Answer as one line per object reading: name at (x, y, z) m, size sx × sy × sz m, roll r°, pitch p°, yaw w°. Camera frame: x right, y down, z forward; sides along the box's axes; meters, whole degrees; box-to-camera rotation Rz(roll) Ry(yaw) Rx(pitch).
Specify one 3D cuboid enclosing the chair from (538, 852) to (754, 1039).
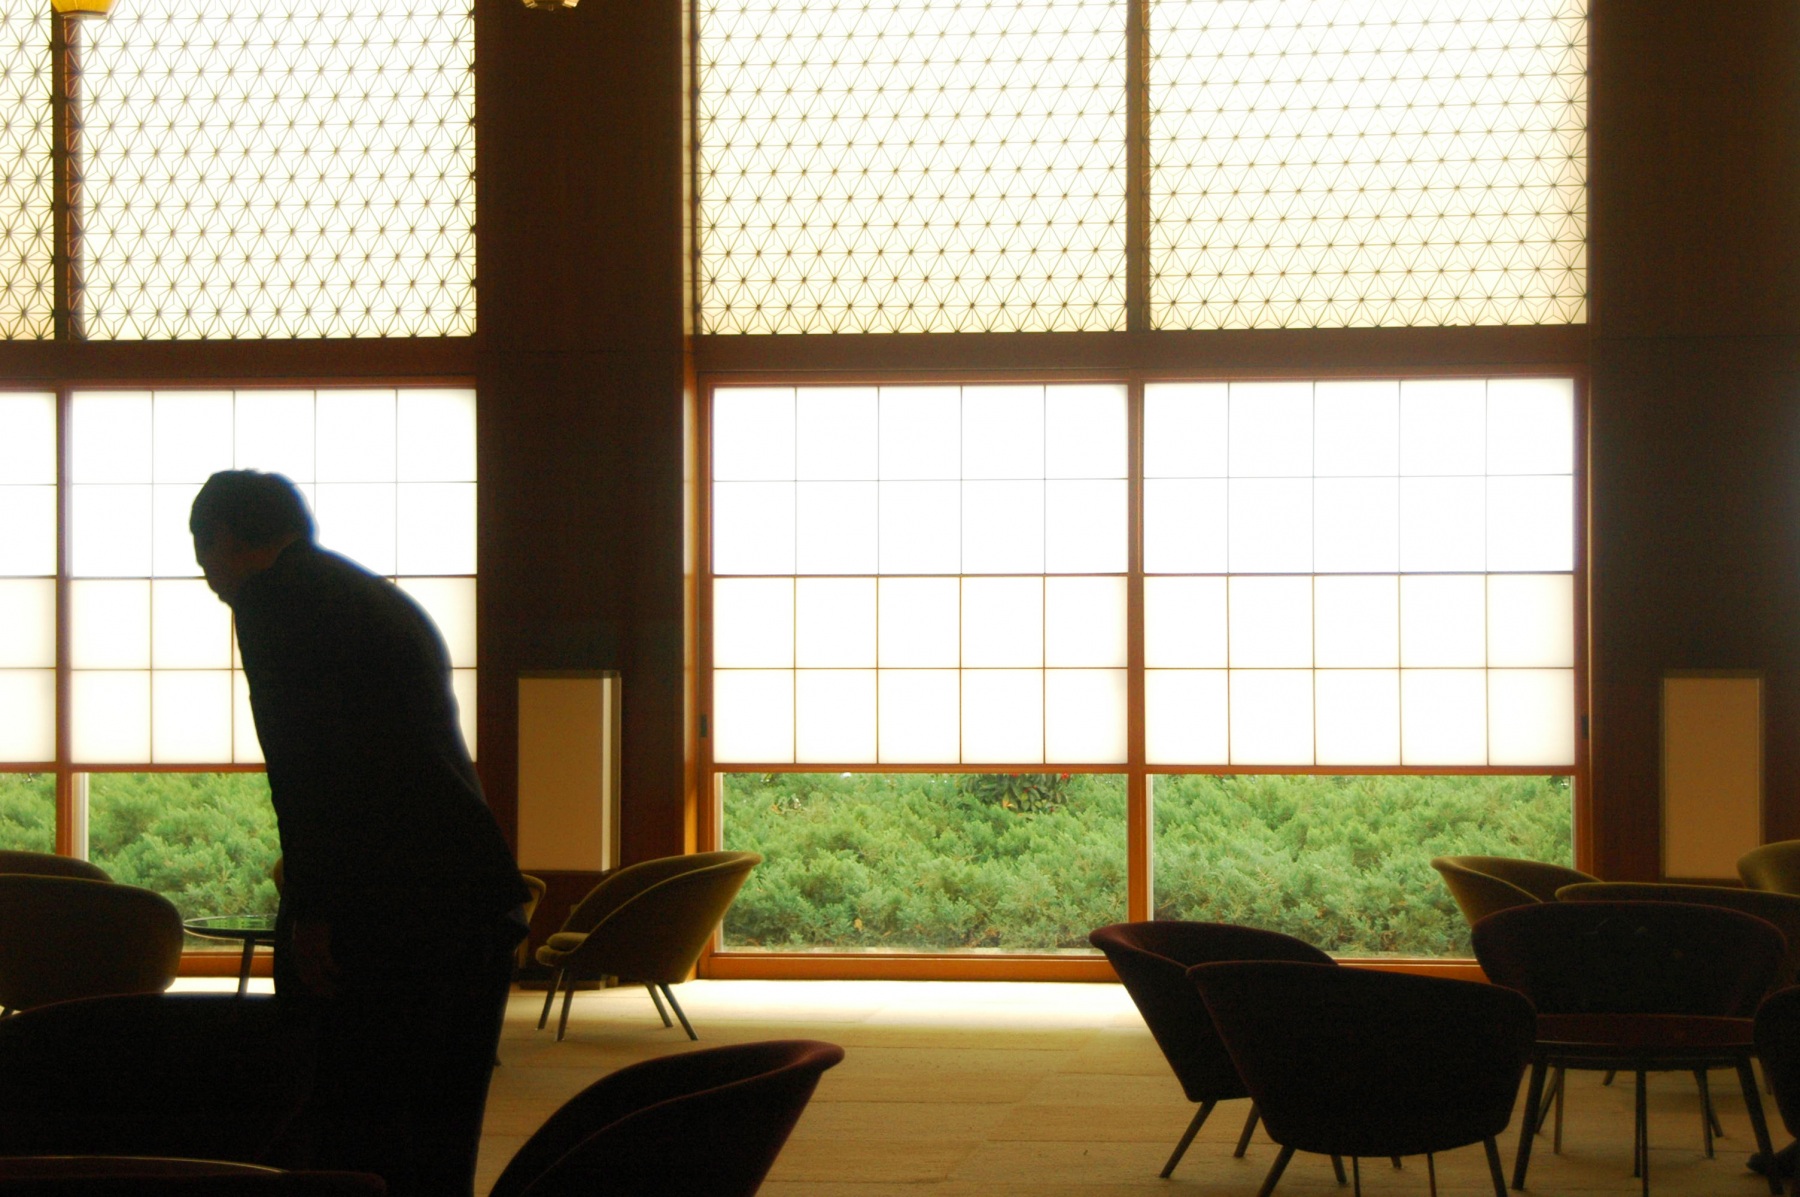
chair at (-1.225, 1.637, 9.872) m, size 0.913 × 0.734 × 0.927 m, roll 3°, pitch -11°, yaw -15°
